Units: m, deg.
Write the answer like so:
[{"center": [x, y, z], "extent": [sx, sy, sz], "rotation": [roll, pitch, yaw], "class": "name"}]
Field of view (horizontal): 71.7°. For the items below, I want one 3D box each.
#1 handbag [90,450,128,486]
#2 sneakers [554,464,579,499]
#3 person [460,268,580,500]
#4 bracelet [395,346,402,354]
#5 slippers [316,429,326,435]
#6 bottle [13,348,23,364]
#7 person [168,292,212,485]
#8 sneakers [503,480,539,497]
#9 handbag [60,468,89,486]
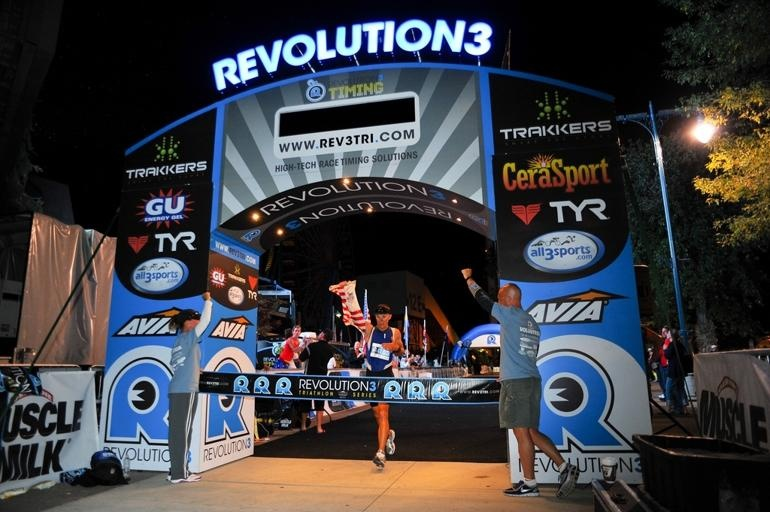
[{"center": [-4.756, 3.609, 9.137], "extent": [0.639, 0.519, 0.350], "rotation": [2, -8, -14], "class": "handbag"}, {"center": [2.838, 3.435, 8.327], "extent": [0.238, 0.627, 0.283], "rotation": [17, 4, -18], "class": "sneakers"}, {"center": [2.173, 1.959, 8.529], "extent": [1.510, 3.560, 0.538], "rotation": [1, -8, -8], "class": "person"}, {"center": [0.275, 1.810, 10.305], "extent": [0.113, 0.133, 0.329], "rotation": [0, -8, -3], "class": "bracelet"}, {"center": [-1.639, 4.432, 13.595], "extent": [0.235, 0.090, 0.538], "rotation": [1, -8, -7], "class": "slippers"}, {"center": [-6.905, 1.855, 9.975], "extent": [0.159, 0.265, 0.383], "rotation": [5, -10, -36], "class": "bottle"}, {"center": [-3.477, 2.261, 9.356], "extent": [0.629, 3.219, 0.554], "rotation": [3, -8, -22], "class": "person"}, {"center": [2.181, 3.647, 8.417], "extent": [0.614, 0.268, 0.230], "rotation": [1, -18, 5], "class": "sneakers"}, {"center": [-5.260, 3.721, 9.013], "extent": [0.616, 0.245, 0.259], "rotation": [-5, -9, 32], "class": "handbag"}]
